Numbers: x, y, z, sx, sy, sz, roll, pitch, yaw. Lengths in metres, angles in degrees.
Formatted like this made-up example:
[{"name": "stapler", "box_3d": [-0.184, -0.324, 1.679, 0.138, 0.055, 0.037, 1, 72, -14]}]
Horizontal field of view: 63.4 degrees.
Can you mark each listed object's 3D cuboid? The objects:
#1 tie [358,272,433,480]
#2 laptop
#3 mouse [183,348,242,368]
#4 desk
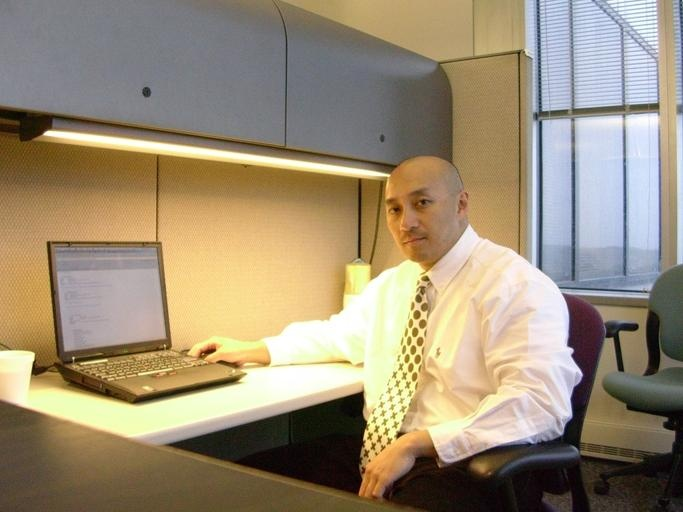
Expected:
[{"name": "tie", "box_3d": [0.213, 0.365, 1.712, 0.168, 0.665, 0.031, 5, -24, 39]}, {"name": "laptop", "box_3d": [-0.595, 0.177, 1.726, 0.478, 0.468, 0.453, 4, 2, 35]}, {"name": "mouse", "box_3d": [-0.414, 0.332, 1.797, 0.135, 0.031, 0.038, 7, 42, 7]}, {"name": "desk", "box_3d": [-0.361, 0.399, 1.627, 0.986, 0.193, 0.535, 6, -3, -30]}]
